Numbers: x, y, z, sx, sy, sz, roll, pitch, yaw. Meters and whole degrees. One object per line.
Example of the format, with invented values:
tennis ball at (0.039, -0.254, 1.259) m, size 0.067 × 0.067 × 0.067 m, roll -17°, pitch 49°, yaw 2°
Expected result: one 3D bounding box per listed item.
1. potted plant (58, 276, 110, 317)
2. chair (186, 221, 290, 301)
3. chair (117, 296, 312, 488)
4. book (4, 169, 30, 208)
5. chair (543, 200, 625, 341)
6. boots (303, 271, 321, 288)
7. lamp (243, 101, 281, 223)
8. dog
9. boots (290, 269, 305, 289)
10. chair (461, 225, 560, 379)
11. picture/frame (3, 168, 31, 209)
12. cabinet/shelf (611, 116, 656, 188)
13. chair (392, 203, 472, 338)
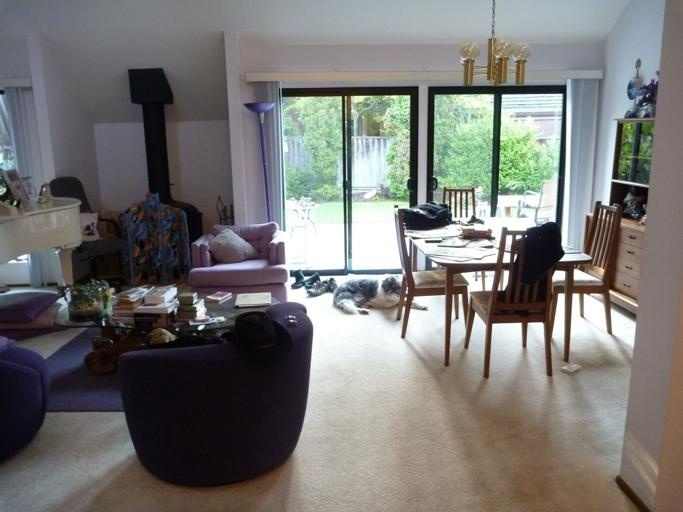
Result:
potted plant at (-1.995, 0.290, 3.988) m, size 0.291 × 0.246 × 0.329 m, roll 3°, pitch 10°, yaw 1°
chair at (-1.108, 0.067, 5.574) m, size 1.080 × 0.810 × 1.047 m, roll -4°, pitch 10°, yaw -14°
chair at (-0.700, 0.800, 3.308) m, size 1.008 × 0.978 × 1.124 m, roll 3°, pitch 16°, yaw -1°
book at (-2.633, -0.536, 4.091) m, size 0.075 × 0.301 × 0.279 m, roll -15°, pitch 25°, yaw -19°
chair at (2.140, 0.130, 4.686) m, size 0.620 × 1.133 × 0.614 m, roll -1°, pitch 8°, yaw 1°
boots at (-0.388, 0.301, 6.084) m, size 0.173 × 0.118 × 0.327 m, roll 2°, pitch 11°, yaw 14°
lamp at (-0.931, -1.079, 5.862) m, size 0.345 × 1.389 × 0.517 m, roll -3°, pitch 11°, yaw -9°
dog at (0.266, 0.406, 5.403) m, size 0.629 × 0.259 × 0.512 m, roll -1°, pitch 5°, yaw 8°
boots at (-0.558, 0.267, 6.292) m, size 0.166 × 0.173 × 0.472 m, roll -2°, pitch 11°, yaw -6°
chair at (1.388, 0.306, 4.100) m, size 0.654 × 1.210 × 0.812 m, roll -3°, pitch 10°, yaw -17°
picture/frame at (-2.633, -0.530, 4.089) m, size 0.078 × 0.311 × 0.291 m, roll -14°, pitch 23°, yaw -16°
cabinet/shelf at (2.977, -0.991, 4.968) m, size 0.252 × 0.671 × 0.676 m, roll -1°, pitch 13°, yaw 3°
chair at (0.836, 0.142, 4.741) m, size 0.686 × 1.151 × 0.694 m, roll -5°, pitch 10°, yaw -7°
